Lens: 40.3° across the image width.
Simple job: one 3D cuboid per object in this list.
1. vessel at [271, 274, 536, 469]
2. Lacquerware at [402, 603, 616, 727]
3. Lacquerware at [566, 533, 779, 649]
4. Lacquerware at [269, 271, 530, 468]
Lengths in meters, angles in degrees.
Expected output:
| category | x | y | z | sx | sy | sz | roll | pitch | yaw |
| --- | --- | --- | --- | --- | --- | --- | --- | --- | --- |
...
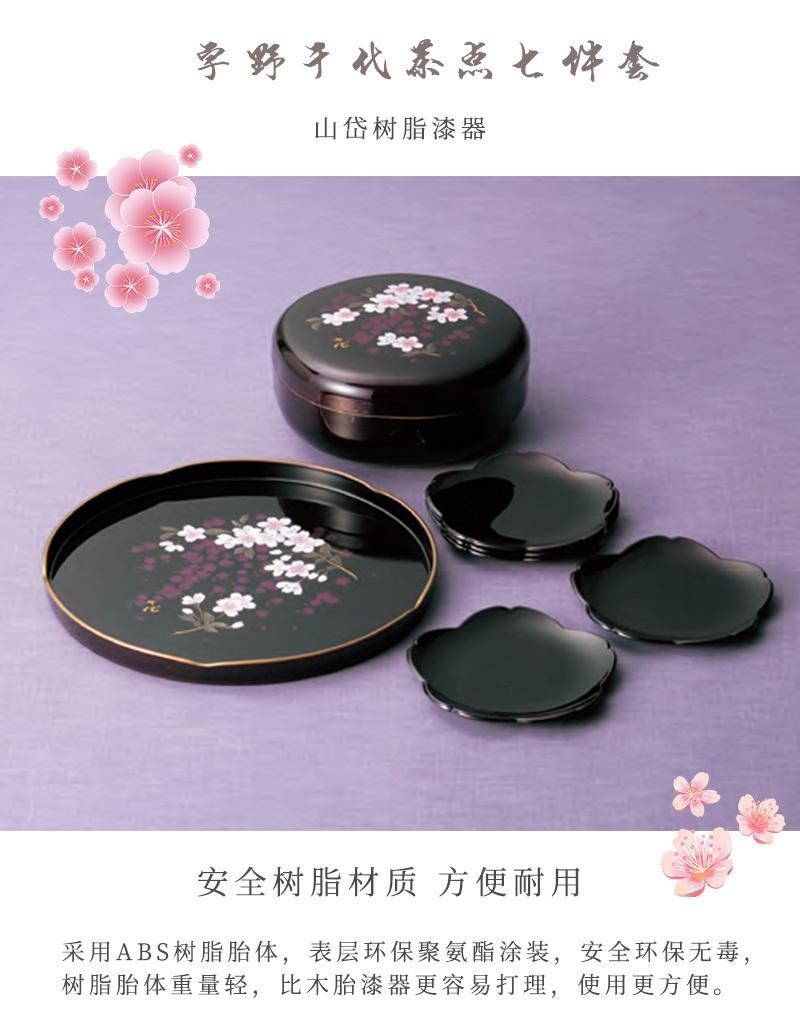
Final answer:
| category | x | y | z | sx | sy | sz | roll | pitch | yaw |
| --- | --- | --- | --- | --- | --- | --- | --- | --- | --- |
| vessel | 0.039 | -0.311 | 2.068 | 0.448 | 0.167 | 0.407 | 17 | 36 | 23 |
| Lacquerware | 0.143 | 0.212 | 1.517 | 0.259 | 0.086 | 0.217 | -16 | 21 | -38 |
| Lacquerware | 0.413 | 0.123 | 1.679 | 0.285 | 0.105 | 0.239 | -15 | 21 | -36 |
| Lacquerware | -0.002 | -0.286 | 2.122 | 0.487 | 0.320 | 0.450 | -1 | 18 | 5 |
